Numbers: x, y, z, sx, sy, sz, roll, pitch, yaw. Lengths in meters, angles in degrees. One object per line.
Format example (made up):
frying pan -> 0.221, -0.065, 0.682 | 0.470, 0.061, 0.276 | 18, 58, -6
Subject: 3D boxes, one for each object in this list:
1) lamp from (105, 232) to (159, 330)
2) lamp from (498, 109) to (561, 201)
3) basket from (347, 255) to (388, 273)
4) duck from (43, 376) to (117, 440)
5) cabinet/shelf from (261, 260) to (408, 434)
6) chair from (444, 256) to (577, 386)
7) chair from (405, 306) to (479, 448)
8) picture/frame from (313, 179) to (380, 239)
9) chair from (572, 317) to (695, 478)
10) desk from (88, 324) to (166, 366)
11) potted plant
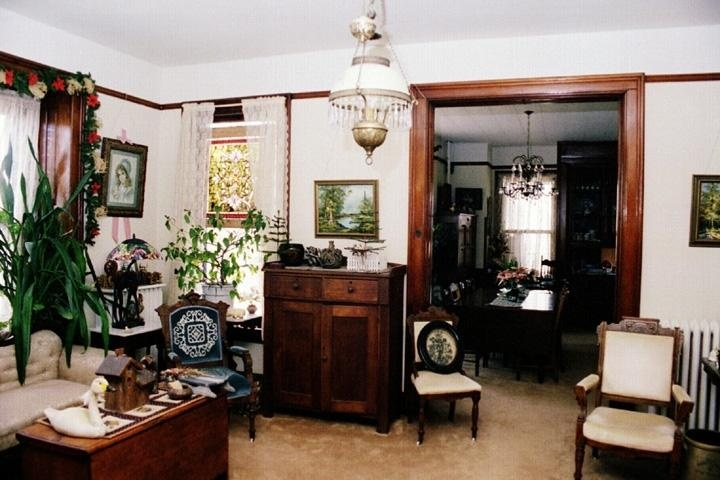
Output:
lamp -> -2.440, 0.415, 5.741 | 0.575, 0.979, 0.673 | -3, 10, -26
lamp -> 3.292, -1.504, 10.313 | 1.268, 1.774, 1.290 | -1, 0, -20
basket -> 0.078, 0.210, 5.533 | 0.420, 0.168, 0.257 | 1, 9, -2
duck -> -2.011, 1.185, 3.999 | 0.469, 0.427, 0.327 | 9, 2, 13
cabinet/shelf -> -0.286, 1.096, 5.509 | 1.643, 1.949, 0.854 | 0, -1, 12
chair -> 2.070, 0.778, 7.223 | 1.066, 0.972, 1.934 | 0, 4, 17
chair -> 0.886, 1.311, 5.585 | 0.810, 1.217, 0.926 | 1, 9, -1
picture/frame -> -0.115, -0.370, 5.916 | 0.623, 0.560, 0.049 | 2, 6, 14
chair -> 2.386, 1.423, 4.761 | 0.881, 1.310, 0.947 | 5, 9, 24
desk -> -2.319, 1.000, 5.454 | 0.470, 0.601, 0.638 | 0, 3, -2
potted plant -> -1.668, 0.147, 6.384 | 1.290, 1.137, 1.068 | 0, -8, 1
